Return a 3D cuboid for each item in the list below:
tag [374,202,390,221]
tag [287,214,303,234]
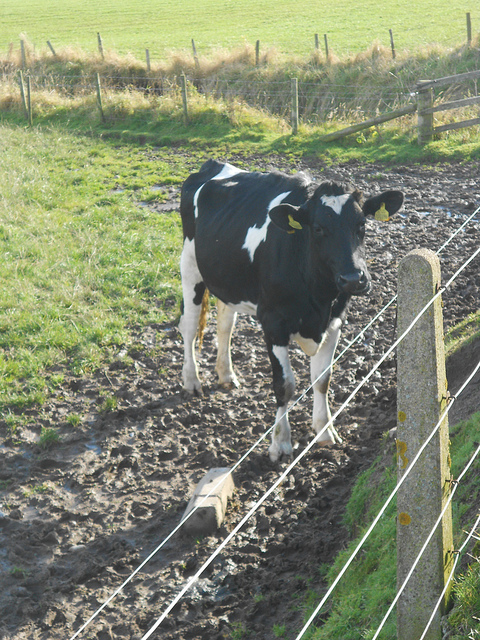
[{"bbox_3d":[1.184,-0.900,9.111,0.119,0.152,0.126,-3,16,-5],"label":"tag"},{"bbox_3d":[0.437,-0.785,8.970,0.084,0.147,0.032,-27,-16,-14],"label":"tag"}]
